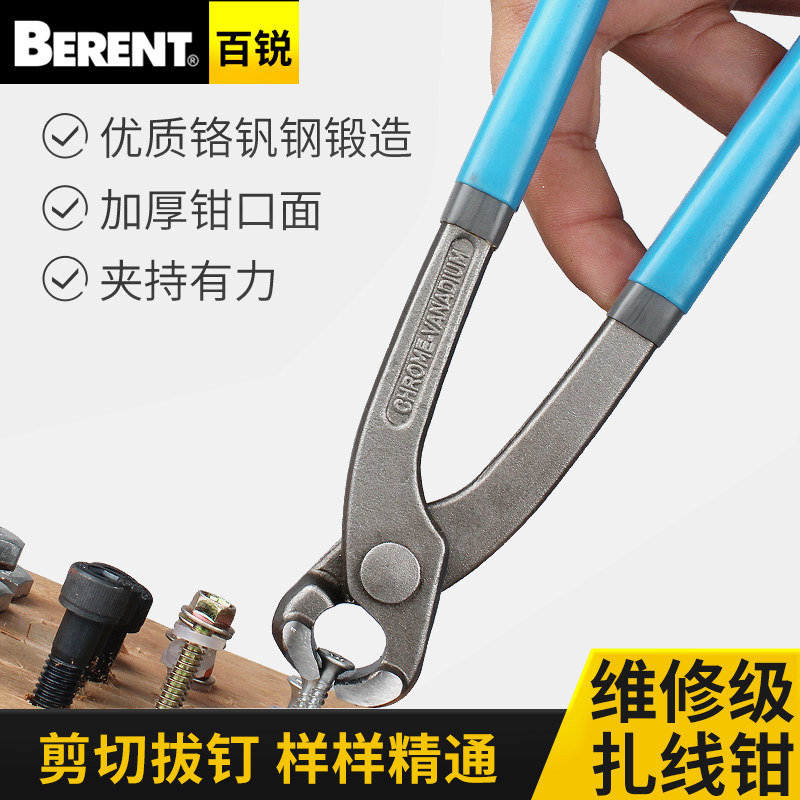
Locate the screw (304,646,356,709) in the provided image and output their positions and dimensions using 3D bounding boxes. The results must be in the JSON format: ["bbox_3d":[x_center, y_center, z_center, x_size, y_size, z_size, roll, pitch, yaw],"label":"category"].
[{"bbox_3d":[-0.070,0.247,0.885,0.029,0.052,0.037,13,-14,19],"label":"screw"}]

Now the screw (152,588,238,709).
[{"bbox_3d":[-0.200,0.233,0.901,0.047,0.119,0.044,26,4,2],"label":"screw"}]

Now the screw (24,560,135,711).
[{"bbox_3d":[-0.284,0.208,0.877,0.074,0.131,0.095,19,-13,-9],"label":"screw"}]
